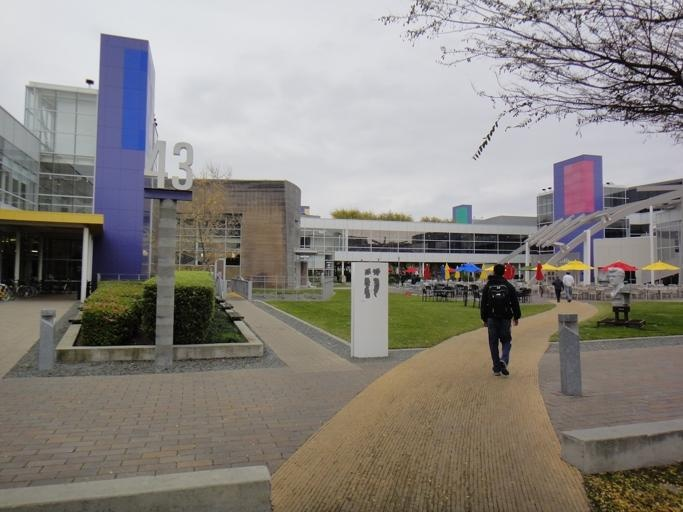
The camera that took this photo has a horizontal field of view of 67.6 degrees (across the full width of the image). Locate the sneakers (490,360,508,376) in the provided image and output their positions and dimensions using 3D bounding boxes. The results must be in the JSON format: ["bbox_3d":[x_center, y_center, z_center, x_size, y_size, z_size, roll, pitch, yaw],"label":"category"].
[{"bbox_3d":[2.957,2.043,9.453,0.146,0.397,0.169,-14,1,29],"label":"sneakers"}]

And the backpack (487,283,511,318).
[{"bbox_3d":[2.941,0.852,9.456,0.416,0.614,0.109,-2,-1,17],"label":"backpack"}]
